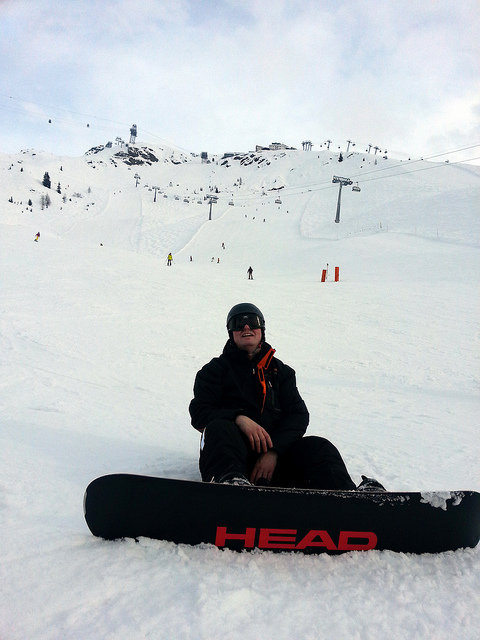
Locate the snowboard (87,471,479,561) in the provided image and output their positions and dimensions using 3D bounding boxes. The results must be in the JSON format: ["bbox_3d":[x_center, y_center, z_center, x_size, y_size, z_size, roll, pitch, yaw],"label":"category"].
[{"bbox_3d":[0.156,0.693,2.279,1.553,0.470,0.219,1,0,0],"label":"snowboard"}]

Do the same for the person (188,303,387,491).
[{"bbox_3d":[0.124,0.373,2.786,0.652,0.835,0.984,4,5,-16],"label":"person"}]
